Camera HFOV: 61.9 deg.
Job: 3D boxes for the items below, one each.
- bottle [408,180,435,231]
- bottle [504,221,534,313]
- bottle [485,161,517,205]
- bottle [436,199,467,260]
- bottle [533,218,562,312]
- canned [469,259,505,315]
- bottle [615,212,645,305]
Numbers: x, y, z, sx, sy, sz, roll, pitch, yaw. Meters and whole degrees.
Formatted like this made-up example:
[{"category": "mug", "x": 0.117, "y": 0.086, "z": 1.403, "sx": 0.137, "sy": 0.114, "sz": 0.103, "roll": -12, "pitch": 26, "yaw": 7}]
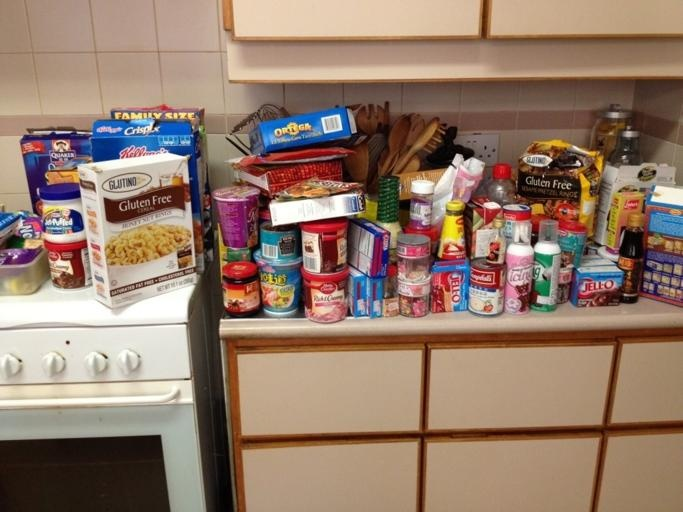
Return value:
[{"category": "bottle", "x": 0.234, "y": -0.148, "z": 1.641, "sx": 0.066, "sy": 0.137, "sz": 0.045, "roll": 0, "pitch": 21, "yaw": -3}, {"category": "bottle", "x": 0.493, "y": 0.034, "z": 1.595, "sx": 0.073, "sy": 0.247, "sz": 0.083, "roll": 3, "pitch": 21, "yaw": 5}, {"category": "bottle", "x": 0.528, "y": -0.219, "z": 1.898, "sx": 0.097, "sy": 0.159, "sz": 0.096, "roll": -2, "pitch": 24, "yaw": 1}, {"category": "bottle", "x": 0.322, "y": -0.070, "z": 1.633, "sx": 0.076, "sy": 0.173, "sz": 0.091, "roll": 1, "pitch": 21, "yaw": 0}, {"category": "bottle", "x": 0.588, "y": 0.026, "z": 1.623, "sx": 0.084, "sy": 0.239, "sz": 0.127, "roll": 9, "pitch": 22, "yaw": 20}, {"category": "canned", "x": 0.424, "y": 0.092, "z": 1.625, "sx": 0.126, "sy": 0.129, "sz": 0.122, "roll": -6, "pitch": 12, "yaw": -44}, {"category": "bottle", "x": 0.837, "y": 0.004, "z": 1.642, "sx": 0.068, "sy": 0.255, "sz": 0.085, "roll": 8, "pitch": 22, "yaw": 18}]
